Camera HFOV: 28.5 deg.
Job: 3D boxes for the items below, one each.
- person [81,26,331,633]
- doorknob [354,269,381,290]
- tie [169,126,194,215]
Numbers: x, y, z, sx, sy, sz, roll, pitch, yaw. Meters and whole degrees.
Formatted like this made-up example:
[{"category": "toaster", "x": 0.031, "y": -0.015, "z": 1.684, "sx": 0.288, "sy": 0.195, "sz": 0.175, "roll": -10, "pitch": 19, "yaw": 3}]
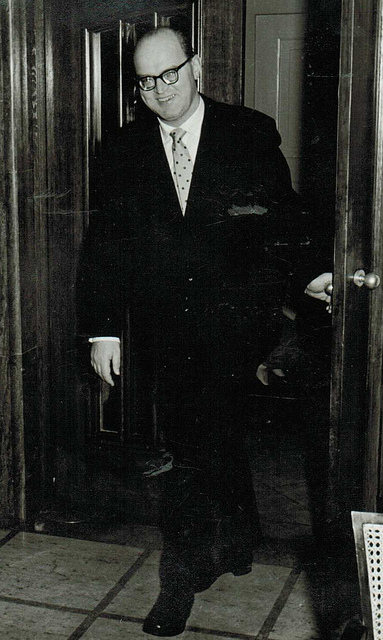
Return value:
[{"category": "person", "x": -0.004, "y": -0.010, "z": 1.834, "sx": 0.669, "sy": 1.324, "sz": 0.413, "roll": 0, "pitch": 6, "yaw": 10}, {"category": "doorknob", "x": 0.340, "y": -0.079, "z": 1.462, "sx": 0.041, "sy": 0.036, "sz": 0.055, "roll": 3, "pitch": 7, "yaw": 27}, {"category": "tie", "x": -0.023, "y": -0.361, "z": 1.819, "sx": 0.059, "sy": 0.196, "sz": 0.014, "roll": -14, "pitch": 15, "yaw": -29}]
